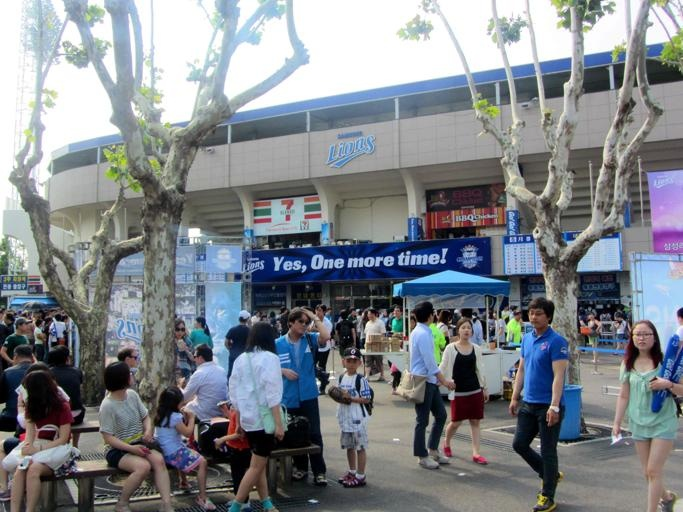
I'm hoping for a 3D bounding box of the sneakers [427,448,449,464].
[{"bbox_3d":[1.450,2.991,8.298,0.167,0.121,0.290,6,-8,-27],"label":"sneakers"}]

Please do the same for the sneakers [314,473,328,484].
[{"bbox_3d":[-0.264,2.984,7.381,0.085,0.102,0.235,3,-15,-14],"label":"sneakers"}]

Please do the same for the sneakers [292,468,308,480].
[{"bbox_3d":[-0.578,3.039,7.674,0.091,0.099,0.228,-7,-21,18],"label":"sneakers"}]

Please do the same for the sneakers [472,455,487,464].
[{"bbox_3d":[2.080,3.020,8.246,0.217,0.114,0.217,0,-7,9],"label":"sneakers"}]

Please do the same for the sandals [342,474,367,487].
[{"bbox_3d":[0.183,3.027,7.440,0.344,0.153,0.124,7,-13,-21],"label":"sandals"}]

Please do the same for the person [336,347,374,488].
[{"bbox_3d":[0.191,2.181,7.567,0.495,1.813,0.378,2,-6,-6],"label":"person"}]

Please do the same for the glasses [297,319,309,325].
[{"bbox_3d":[-0.470,0.868,7.301,0.080,0.096,0.153,-4,-8,41],"label":"glasses"}]

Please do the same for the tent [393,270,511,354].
[{"bbox_3d":[2.929,1.502,14.310,2.610,1.076,2.463,0,-2,-2],"label":"tent"}]

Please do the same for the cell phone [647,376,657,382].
[{"bbox_3d":[3.441,1.352,6.074,0.076,0.055,0.129,-2,-7,26],"label":"cell phone"}]

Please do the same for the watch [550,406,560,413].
[{"bbox_3d":[2.497,1.781,6.438,0.096,0.064,0.099,-2,-13,44],"label":"watch"}]

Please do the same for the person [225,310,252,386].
[{"bbox_3d":[-2.170,1.974,11.628,0.588,1.740,0.436,10,17,-8],"label":"person"}]

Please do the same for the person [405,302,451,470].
[{"bbox_3d":[1.344,1.897,8.255,0.692,2.391,0.700,0,-11,15],"label":"person"}]

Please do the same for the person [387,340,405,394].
[{"bbox_3d":[1.481,2.821,14.220,0.407,1.352,0.411,-10,-32,31],"label":"person"}]

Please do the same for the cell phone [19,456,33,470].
[{"bbox_3d":[-3.484,2.276,6.093,0.108,0.146,0.046,25,-16,14],"label":"cell phone"}]

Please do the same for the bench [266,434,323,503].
[{"bbox_3d":[-0.621,2.710,7.174,0.693,0.658,0.667,2,-11,-18],"label":"bench"}]

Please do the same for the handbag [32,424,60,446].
[{"bbox_3d":[-3.291,1.982,6.125,0.160,0.134,0.231,0,-3,2],"label":"handbag"}]

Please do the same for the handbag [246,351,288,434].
[{"bbox_3d":[-0.864,1.559,6.226,0.448,0.933,0.099,0,-6,8],"label":"handbag"}]

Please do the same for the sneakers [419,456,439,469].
[{"bbox_3d":[1.295,3.012,8.096,0.198,0.157,0.281,6,-8,-37],"label":"sneakers"}]
